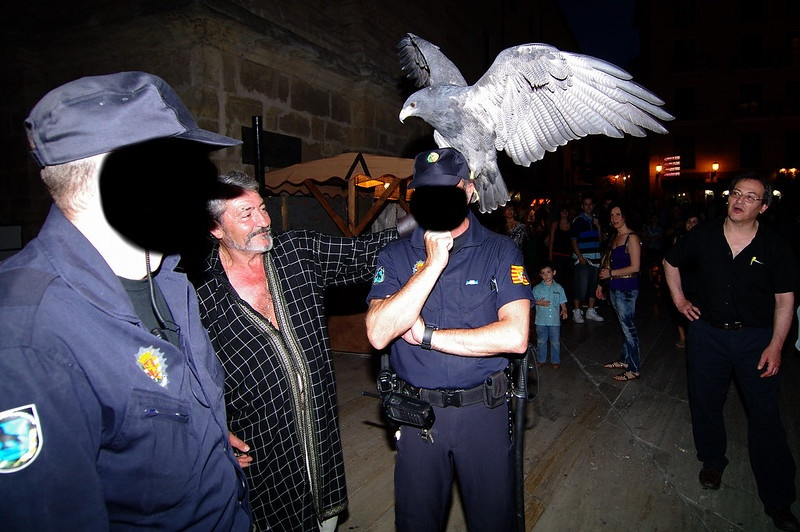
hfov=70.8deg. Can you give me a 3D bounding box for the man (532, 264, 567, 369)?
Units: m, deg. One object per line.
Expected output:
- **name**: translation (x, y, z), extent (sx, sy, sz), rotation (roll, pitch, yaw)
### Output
- **man**: translation (2.075, 0.730, 7.842), extent (0.456, 1.396, 0.389), rotation (0, 0, 16)

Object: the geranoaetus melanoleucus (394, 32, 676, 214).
- **geranoaetus melanoleucus**: translation (0.801, -1.421, 6.028), extent (2.014, 1.537, 3.537), rotation (9, 1, -40)

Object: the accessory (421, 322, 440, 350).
- **accessory**: translation (0.205, 0.529, 4.165), extent (0.107, 0.165, 0.169), rotation (5, -9, 1)

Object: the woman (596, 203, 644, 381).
- **woman**: translation (2.992, 0.345, 7.688), extent (0.497, 2.208, 0.960), rotation (-2, 12, 16)

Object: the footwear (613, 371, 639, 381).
- **footwear**: translation (3.013, 1.466, 7.487), extent (0.262, 0.114, 0.144), rotation (1, 2, 2)

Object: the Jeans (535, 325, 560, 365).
- **Jeans**: translation (2.080, 1.068, 7.954), extent (0.327, 0.820, 0.195), rotation (3, 24, 19)

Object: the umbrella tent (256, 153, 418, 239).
- **umbrella tent**: translation (-0.990, -1.075, 9.542), extent (2.265, 1.204, 2.472), rotation (0, 6, -11)

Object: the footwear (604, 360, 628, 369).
- **footwear**: translation (3.004, 1.384, 7.872), extent (0.290, 0.126, 0.106), rotation (4, 13, 22)

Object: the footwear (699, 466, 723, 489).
- **footwear**: translation (2.997, 2.060, 5.470), extent (0.157, 0.082, 0.232), rotation (-2, 45, 30)

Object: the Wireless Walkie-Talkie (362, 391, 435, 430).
- **Wireless Walkie-Talkie**: translation (-0.030, 1.069, 4.276), extent (0.524, 0.224, 0.165), rotation (-4, 26, 38)

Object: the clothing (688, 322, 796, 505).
- **clothing**: translation (3.203, 1.345, 5.342), extent (0.392, 1.578, 0.977), rotation (-12, 14, -34)
